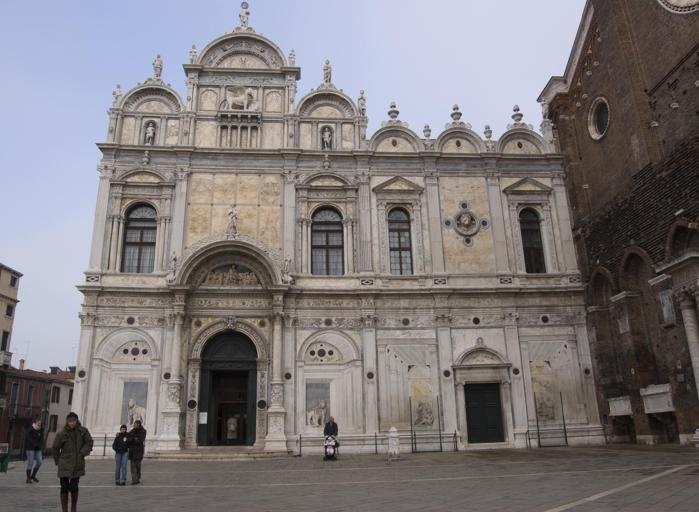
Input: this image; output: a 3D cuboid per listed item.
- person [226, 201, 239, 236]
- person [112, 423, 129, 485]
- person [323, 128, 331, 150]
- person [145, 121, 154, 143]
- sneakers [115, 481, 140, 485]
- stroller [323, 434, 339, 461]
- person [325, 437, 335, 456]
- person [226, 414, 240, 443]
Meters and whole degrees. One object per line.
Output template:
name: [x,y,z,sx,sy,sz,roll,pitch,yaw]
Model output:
person: [-6.018,-1.813,29.130,0.520,2.120,0.706,2,-20,-13]
person: [-7.424,6.492,18.379,0.487,1.836,1.151,5,-21,-20]
person: [-1.234,-6.486,31.215,0.539,1.383,0.274,-1,-20,-5]
person: [-10.806,-6.679,30.663,0.467,1.280,0.202,3,-21,-16]
sneakers: [-6.972,7.207,17.848,0.511,0.084,0.039,-2,-14,-4]
stroller: [-0.796,8.342,24.545,1.031,1.313,0.952,2,-27,-2]
person: [-0.819,8.185,24.165,0.602,0.939,0.517,3,-26,-6]
person: [-5.836,8.618,28.336,0.576,1.182,0.243,1,-20,-11]
